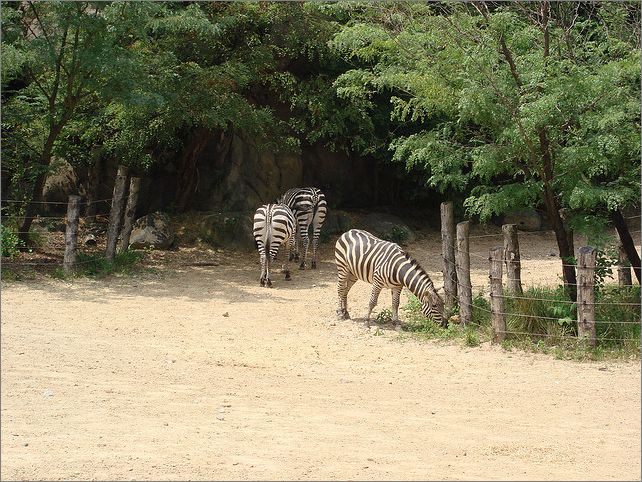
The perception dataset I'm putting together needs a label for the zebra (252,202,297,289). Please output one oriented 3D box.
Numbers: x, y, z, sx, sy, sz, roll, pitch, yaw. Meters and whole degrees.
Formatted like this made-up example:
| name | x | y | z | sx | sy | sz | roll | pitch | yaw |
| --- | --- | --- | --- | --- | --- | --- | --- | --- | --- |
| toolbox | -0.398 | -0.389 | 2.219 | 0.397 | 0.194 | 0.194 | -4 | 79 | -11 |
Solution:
| name | x | y | z | sx | sy | sz | roll | pitch | yaw |
| --- | --- | --- | --- | --- | --- | --- | --- | --- | --- |
| zebra | -1.079 | 0.092 | 20.020 | 0.830 | 1.931 | 0.833 | 1 | -6 | 3 |
